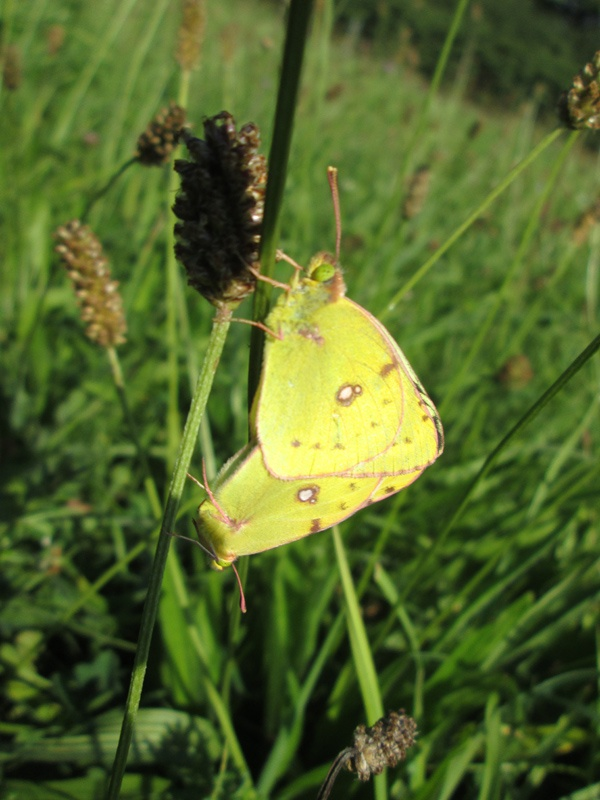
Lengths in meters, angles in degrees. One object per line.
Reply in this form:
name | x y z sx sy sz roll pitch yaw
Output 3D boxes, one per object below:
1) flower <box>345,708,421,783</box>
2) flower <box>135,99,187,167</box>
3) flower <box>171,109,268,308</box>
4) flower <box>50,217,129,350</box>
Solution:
flower | 0.133 0.551 1.539 0.139 0.056 0.088 -36 85 -9
flower | -0.287 -0.574 2.029 0.088 0.100 0.211 49 25 -36
flower | -0.126 -0.286 1.436 0.141 0.240 0.183 8 38 -17
flower | -0.372 -0.209 1.694 0.153 0.263 0.107 10 39 -15
